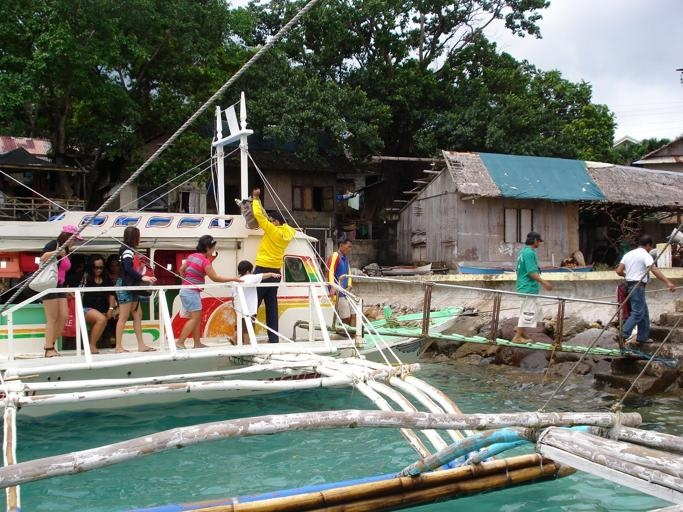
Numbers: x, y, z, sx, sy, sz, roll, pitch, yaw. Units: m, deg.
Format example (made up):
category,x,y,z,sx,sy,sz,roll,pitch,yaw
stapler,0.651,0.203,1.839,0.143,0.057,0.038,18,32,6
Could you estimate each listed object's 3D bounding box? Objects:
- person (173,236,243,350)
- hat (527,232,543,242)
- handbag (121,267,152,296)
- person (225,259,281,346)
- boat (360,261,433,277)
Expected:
category,x,y,z,sx,sy,sz,roll,pitch,yaw
person,-2.212,0.556,10.691,0.803,1.777,1.469,-1,-4,-13
hat,3.594,-0.334,12.640,0.285,0.191,0.400,8,12,37
handbag,-3.238,0.431,10.521,0.334,0.388,0.464,-2,-5,44
person,-1.466,0.769,11.127,1.526,1.360,0.477,3,19,6
boat,1.824,0.589,25.396,3.108,0.654,0.844,-1,0,18
